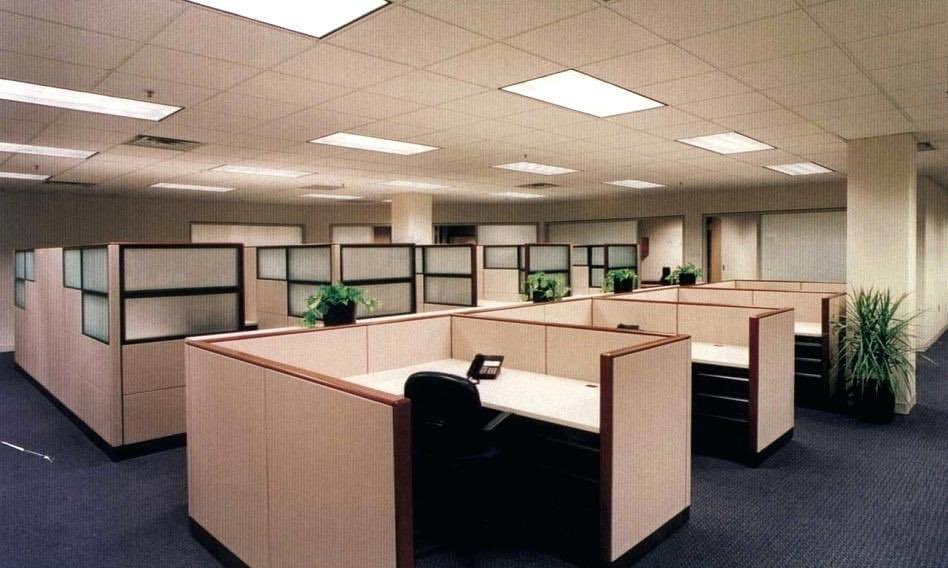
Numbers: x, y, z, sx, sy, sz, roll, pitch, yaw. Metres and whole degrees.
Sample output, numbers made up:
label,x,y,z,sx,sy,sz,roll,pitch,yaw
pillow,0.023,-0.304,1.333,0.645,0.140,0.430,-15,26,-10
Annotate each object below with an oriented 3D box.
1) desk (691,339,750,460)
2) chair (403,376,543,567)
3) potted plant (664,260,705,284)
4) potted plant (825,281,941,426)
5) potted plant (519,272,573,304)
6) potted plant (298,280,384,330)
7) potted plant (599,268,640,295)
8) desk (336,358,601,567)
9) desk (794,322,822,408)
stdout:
label,x,y,z,sx,sy,sz,roll,pitch,yaw
desk,2.739,1.320,6.909,0.612,1.182,0.574,2,4,20
chair,-0.172,1.582,5.561,0.834,1.724,0.796,1,4,3
potted plant,3.810,-0.238,11.178,0.520,0.366,0.510,1,-3,-28
potted plant,5.204,0.809,8.605,1.597,1.864,1.360,-3,4,-19
potted plant,0.880,0.023,7.663,0.477,0.361,0.459,0,4,-2
potted plant,-1.354,0.214,6.496,0.656,0.370,0.721,-1,0,23
potted plant,2.033,-0.051,8.825,0.412,0.310,0.420,-2,-1,24
desk,0.000,1.620,5.321,1.157,0.424,1.755,-5,8,-43
desk,4.298,1.106,7.979,0.327,1.003,0.255,3,4,30
